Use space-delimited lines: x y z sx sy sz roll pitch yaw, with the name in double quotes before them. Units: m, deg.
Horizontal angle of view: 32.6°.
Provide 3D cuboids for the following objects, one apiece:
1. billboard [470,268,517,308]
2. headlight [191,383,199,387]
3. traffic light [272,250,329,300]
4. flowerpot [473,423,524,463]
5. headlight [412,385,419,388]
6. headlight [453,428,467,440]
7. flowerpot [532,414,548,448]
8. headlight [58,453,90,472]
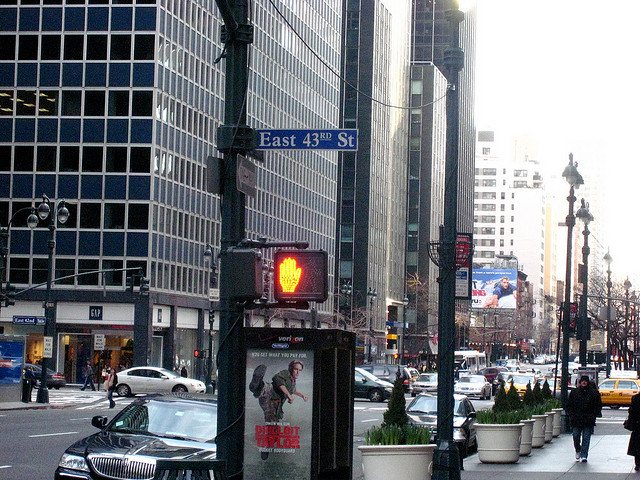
"billboard" 25.459 7.325 159.483 6.870 6.499 2.538 1 -1 17
"headlight" -6.917 7.993 60.078 0.215 0.207 0.630 -5 -10 28
"traffic light" -0.473 0.816 25.575 1.268 1.183 0.341 -1 -8 3
"flowerpot" 5.876 6.695 35.984 1.187 0.888 1.232 -8 -12 35
"headlight" 6.268 9.651 71.959 0.240 0.182 0.669 3 -10 -18
"headlight" 4.768 6.661 37.559 0.237 0.375 0.817 -4 -10 24
"flowerpot" 7.827 6.835 39.152 0.901 0.768 0.960 -2 -1 8
"headlight" -6.183 5.567 27.335 0.934 0.449 0.343 -9 -12 43
